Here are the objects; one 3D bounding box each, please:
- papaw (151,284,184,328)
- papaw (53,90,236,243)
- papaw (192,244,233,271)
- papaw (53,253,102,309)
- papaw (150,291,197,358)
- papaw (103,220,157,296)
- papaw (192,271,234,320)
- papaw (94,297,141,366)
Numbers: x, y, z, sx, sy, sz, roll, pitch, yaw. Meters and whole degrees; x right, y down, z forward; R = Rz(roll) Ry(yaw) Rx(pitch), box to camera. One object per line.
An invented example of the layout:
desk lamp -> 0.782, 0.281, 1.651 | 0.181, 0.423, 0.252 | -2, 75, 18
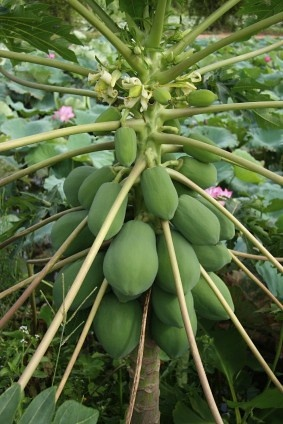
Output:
papaw -> 0.045, 0.167, 0.563 | 0.024, 0.040, 0.071 | 23, 32, -44
papaw -> 0.013, -0.075, 0.612 | 0.356, 0.306, 0.282 | -5, 28, -15
papaw -> 0.145, 0.084, 0.650 | 0.064, 0.039, 0.047 | 23, 12, 6
papaw -> -0.113, 0.135, 0.596 | 0.063, 0.113, 0.085 | 47, -10, 6
papaw -> 0.047, 0.220, 0.602 | 0.075, 0.140, 0.077 | -9, -6, -4
papaw -> -0.019, 0.072, 0.545 | 0.072, 0.066, 0.127 | 12, 52, -14
papaw -> 0.135, 0.173, 0.675 | 0.101, 0.069, 0.063 | 50, 24, 6
papaw -> -0.031, 0.218, 0.611 | 0.081, 0.113, 0.090 | 3, -5, 8
